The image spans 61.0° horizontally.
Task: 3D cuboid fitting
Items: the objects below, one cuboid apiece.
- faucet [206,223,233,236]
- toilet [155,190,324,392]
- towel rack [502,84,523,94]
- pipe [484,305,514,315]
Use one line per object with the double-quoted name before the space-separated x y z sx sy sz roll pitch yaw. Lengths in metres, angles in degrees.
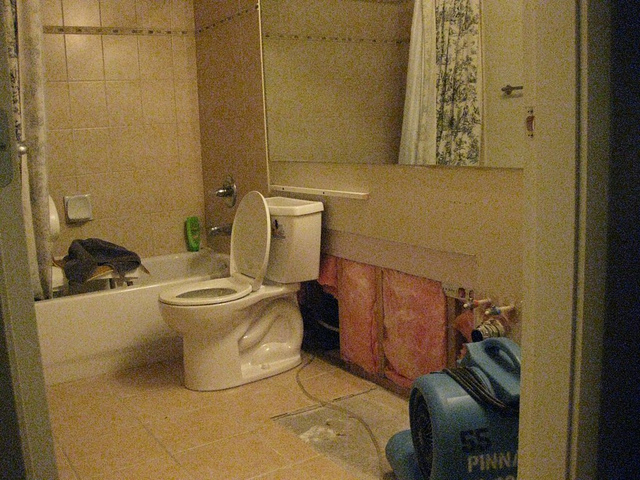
"faucet" -0.611 -0.059 3.350 0.160 0.043 0.118 -5 4 -22
"toilet" -0.459 0.183 2.896 0.937 1.020 0.510 -7 10 -32
"towel rack" 0.660 -0.521 1.857 0.009 0.028 0.058 -9 7 -37
"pipe" 0.645 0.254 1.949 0.144 0.037 0.042 3 32 -48
